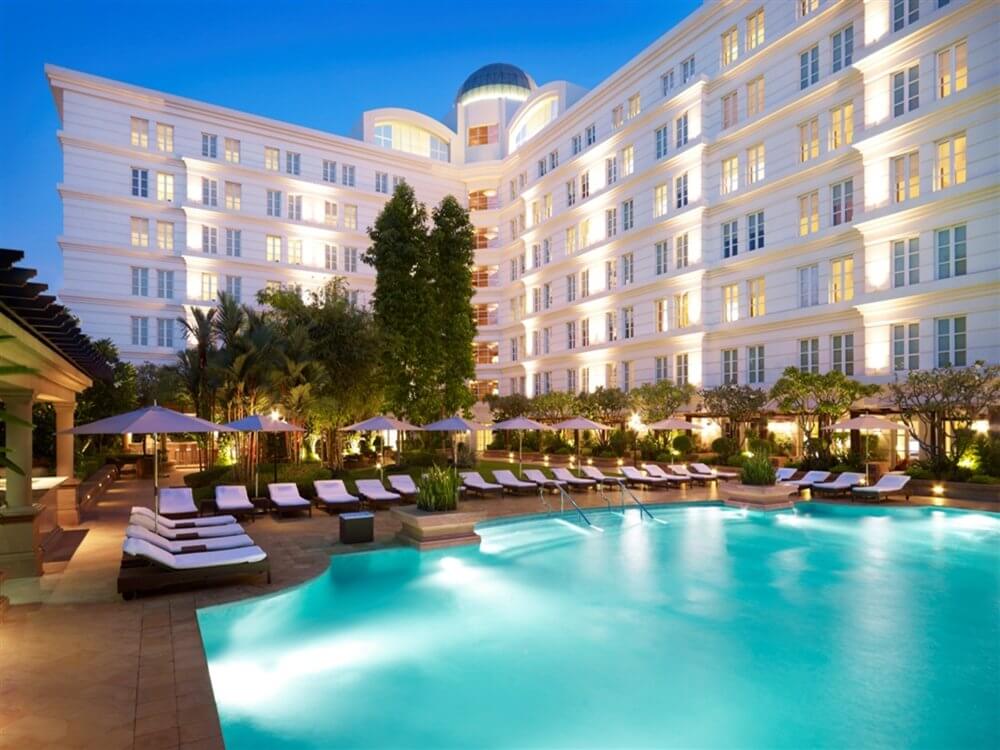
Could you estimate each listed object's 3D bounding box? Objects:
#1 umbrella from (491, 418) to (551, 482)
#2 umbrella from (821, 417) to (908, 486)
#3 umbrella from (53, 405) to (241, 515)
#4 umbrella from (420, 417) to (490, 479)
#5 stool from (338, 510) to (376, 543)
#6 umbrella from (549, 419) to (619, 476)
[{"bbox_3d":[0.546,3.163,32.675,2.817,2.964,2.782,0,0,25],"label":"umbrella"},{"bbox_3d":[13.820,2.692,29.325,2.589,2.708,2.440,-3,3,-38],"label":"umbrella"},{"bbox_3d":[-8.649,1.653,19.726,2.447,1.698,2.326,3,9,-7],"label":"umbrella"},{"bbox_3d":[-1.897,2.594,28.318,2.334,2.166,2.335,1,2,43],"label":"umbrella"},{"bbox_3d":[-3.987,4.126,21.280,0.820,0.697,0.809,3,-7,-29],"label":"stool"},{"bbox_3d":[3.571,3.288,33.111,2.923,2.505,2.927,0,-1,3],"label":"umbrella"}]
